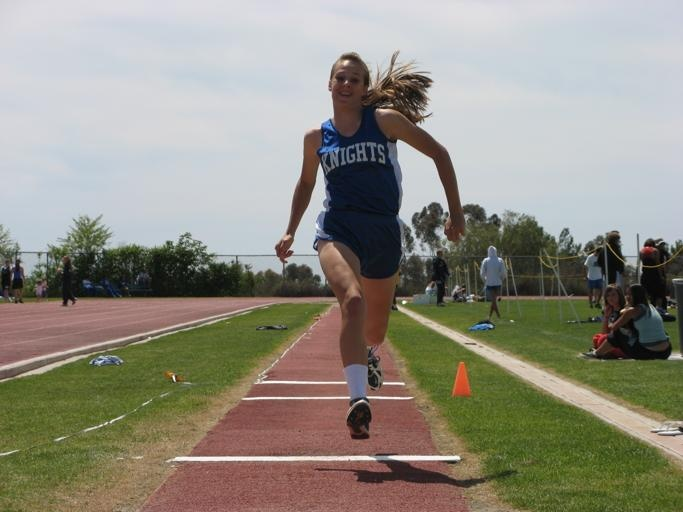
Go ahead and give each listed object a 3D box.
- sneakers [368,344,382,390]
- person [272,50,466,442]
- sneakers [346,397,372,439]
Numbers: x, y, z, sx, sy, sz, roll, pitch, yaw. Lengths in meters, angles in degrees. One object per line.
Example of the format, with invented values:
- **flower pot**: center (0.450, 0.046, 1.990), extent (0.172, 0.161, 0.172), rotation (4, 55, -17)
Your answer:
- **sneakers**: center (0.284, 0.986, 6.733), extent (0.122, 0.165, 0.372), rotation (-7, -44, 7)
- **person**: center (0.259, -0.128, 6.439), extent (1.084, 3.043, 1.165), rotation (-3, 5, -30)
- **sneakers**: center (0.123, 1.193, 5.936), extent (0.162, 0.351, 0.291), rotation (0, 4, 0)
